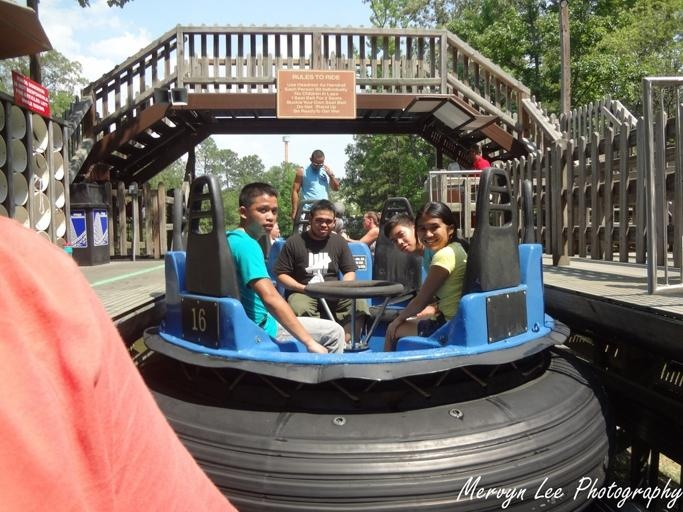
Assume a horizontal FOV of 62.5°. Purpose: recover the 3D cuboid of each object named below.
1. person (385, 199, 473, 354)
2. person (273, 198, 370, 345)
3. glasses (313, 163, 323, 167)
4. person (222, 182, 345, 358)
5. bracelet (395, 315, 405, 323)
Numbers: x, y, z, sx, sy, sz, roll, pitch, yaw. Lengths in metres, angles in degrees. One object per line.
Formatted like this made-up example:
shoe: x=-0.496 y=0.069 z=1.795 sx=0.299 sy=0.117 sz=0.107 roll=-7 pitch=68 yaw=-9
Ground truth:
person: x=0.526 y=0.243 z=3.521 sx=0.425 sy=1.106 sz=0.432 roll=6 pitch=-5 yaw=-1
person: x=-0.153 y=0.159 z=4.486 sx=0.740 sy=1.328 sz=0.670 roll=-5 pitch=-6 yaw=44
glasses: x=-0.356 y=-1.313 z=8.148 sx=0.146 sy=0.057 sz=0.090 roll=4 pitch=-10 yaw=-5
person: x=-0.346 y=0.197 z=3.290 sx=0.580 sy=1.259 sz=0.604 roll=-6 pitch=-17 yaw=-1
bracelet: x=0.367 y=0.393 z=3.556 sx=0.034 sy=0.031 sz=0.035 roll=-18 pitch=-9 yaw=42
